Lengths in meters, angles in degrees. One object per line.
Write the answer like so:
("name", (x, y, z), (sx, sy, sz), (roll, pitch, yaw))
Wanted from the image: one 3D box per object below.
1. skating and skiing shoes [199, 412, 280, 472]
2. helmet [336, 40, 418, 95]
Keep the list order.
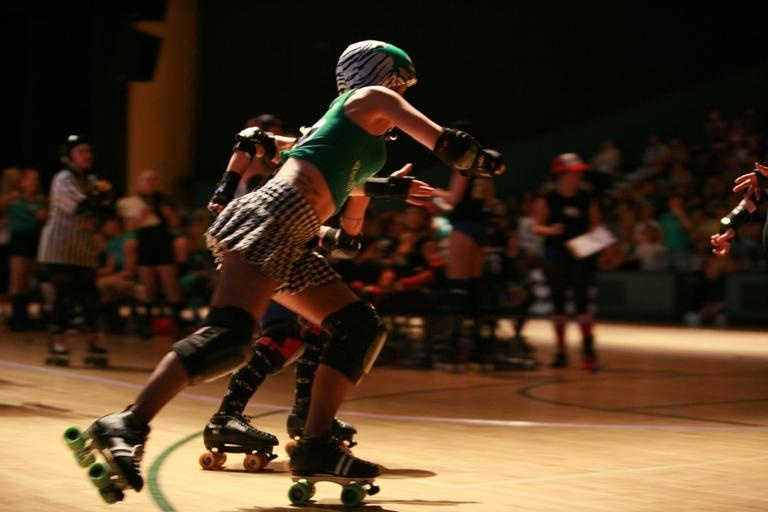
("skating and skiing shoes", (-0.706, 0.918, 3.548), (0.424, 0.236, 0.203), (-4, -4, 21))
("helmet", (-0.042, -0.848, 3.299), (0.408, 0.275, 0.285), (-18, 17, -29))
